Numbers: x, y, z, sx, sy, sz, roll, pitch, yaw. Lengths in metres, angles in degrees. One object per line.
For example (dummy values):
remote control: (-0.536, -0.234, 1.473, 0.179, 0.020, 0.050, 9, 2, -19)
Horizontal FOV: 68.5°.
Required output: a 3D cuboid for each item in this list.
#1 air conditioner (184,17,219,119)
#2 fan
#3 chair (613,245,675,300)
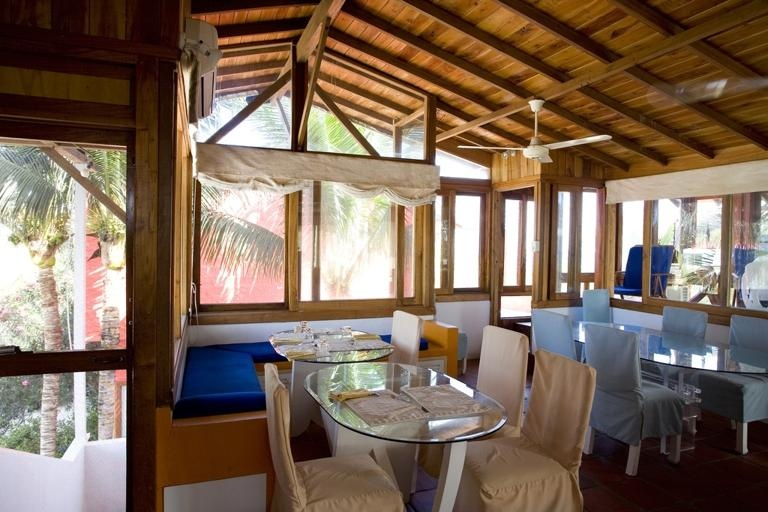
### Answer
air conditioner: (-1.441, -1.460, 4.494, 0.269, 0.829, 0.823, -2, 0, -16)
fan: (1.878, -1.276, 6.592, 1.229, 0.454, 1.086, 1, 3, 15)
chair: (3.796, 0.202, 8.172, 0.692, 0.735, 0.797, -9, 4, -22)
